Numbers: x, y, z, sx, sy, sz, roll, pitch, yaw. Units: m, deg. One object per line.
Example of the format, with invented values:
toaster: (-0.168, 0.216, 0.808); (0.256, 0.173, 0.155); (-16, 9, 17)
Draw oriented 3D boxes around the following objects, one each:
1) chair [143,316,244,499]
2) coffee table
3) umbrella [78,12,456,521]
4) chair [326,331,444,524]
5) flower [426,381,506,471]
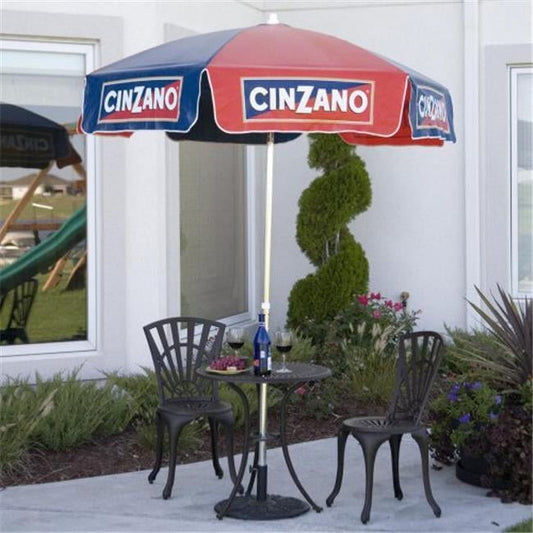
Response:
chair: (-0.509, 0.943, 5.651); (0.611, 1.170, 0.655); (-6, -5, 17)
coffee table: (-0.025, 1.017, 4.927); (0.653, 0.803, 0.680); (-3, -7, 32)
umbrella: (-0.067, -0.199, 5.362); (2.336, 3.244, 2.489); (1, -1, -36)
chair: (0.716, 0.927, 4.962); (0.533, 1.145, 0.594); (4, -2, 0)
flower: (1.217, 0.977, 5.272); (0.456, 0.606, 0.459); (-1, 7, -24)
